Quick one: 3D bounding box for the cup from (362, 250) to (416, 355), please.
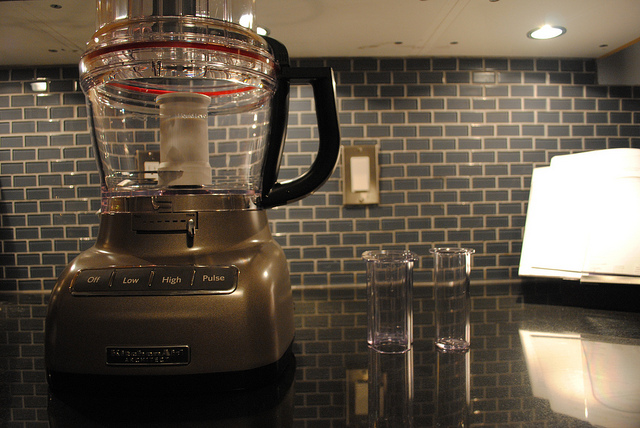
[{"bbox_3d":[0.165,0.209,1.599,0.121,0.239,0.063,0,8,7],"label":"cup"}]

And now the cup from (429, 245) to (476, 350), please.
[{"bbox_3d":[0.320,0.198,1.651,0.102,0.242,0.137,0,8,9],"label":"cup"}]
